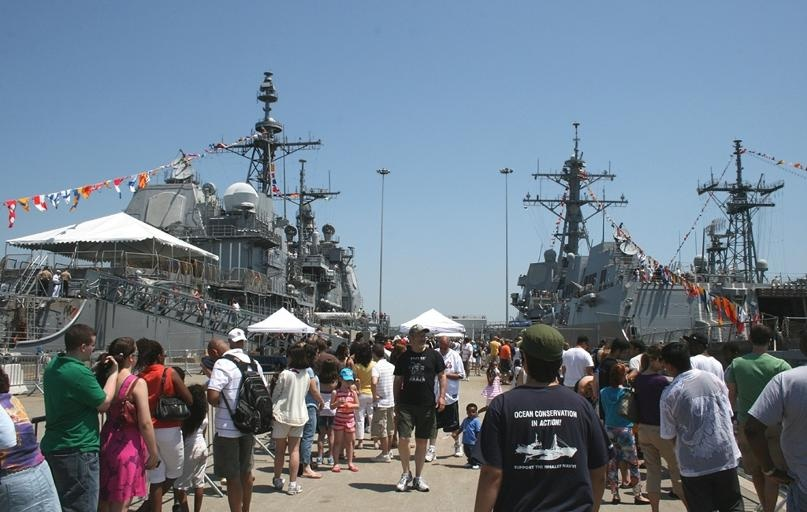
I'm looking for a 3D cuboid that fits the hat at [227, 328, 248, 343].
[{"bbox_3d":[-3.021,1.430,16.495,0.350,0.244,0.465,4,-5,-25],"label":"hat"}]

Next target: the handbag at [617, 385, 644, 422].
[{"bbox_3d":[4.017,2.704,16.504,0.289,0.619,0.417,1,-8,-4],"label":"handbag"}]

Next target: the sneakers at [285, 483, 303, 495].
[{"bbox_3d":[-2.081,4.413,17.258,0.134,0.148,0.349,-1,4,11],"label":"sneakers"}]

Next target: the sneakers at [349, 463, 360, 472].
[{"bbox_3d":[-1.023,4.350,18.694,0.250,0.179,0.091,-2,4,13],"label":"sneakers"}]

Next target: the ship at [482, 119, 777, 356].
[{"bbox_3d":[8.854,-0.370,37.643,8.542,9.899,20.068,-2,-6,23],"label":"ship"}]

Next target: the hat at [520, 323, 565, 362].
[{"bbox_3d":[2.052,1.219,13.588,0.672,0.441,0.867,1,15,-11],"label":"hat"}]

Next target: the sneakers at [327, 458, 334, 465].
[{"bbox_3d":[-1.524,4.255,18.868,0.149,0.169,0.399,1,-14,-4],"label":"sneakers"}]

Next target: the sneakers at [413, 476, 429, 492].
[{"bbox_3d":[0.326,4.367,17.454,0.301,0.262,0.137,0,-8,1],"label":"sneakers"}]

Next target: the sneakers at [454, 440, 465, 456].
[{"bbox_3d":[1.193,4.241,19.840,0.134,0.246,0.373,-2,-26,2],"label":"sneakers"}]

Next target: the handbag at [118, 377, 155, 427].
[{"bbox_3d":[-4.432,2.337,15.301,0.622,1.158,0.830,-2,-1,-20],"label":"handbag"}]
